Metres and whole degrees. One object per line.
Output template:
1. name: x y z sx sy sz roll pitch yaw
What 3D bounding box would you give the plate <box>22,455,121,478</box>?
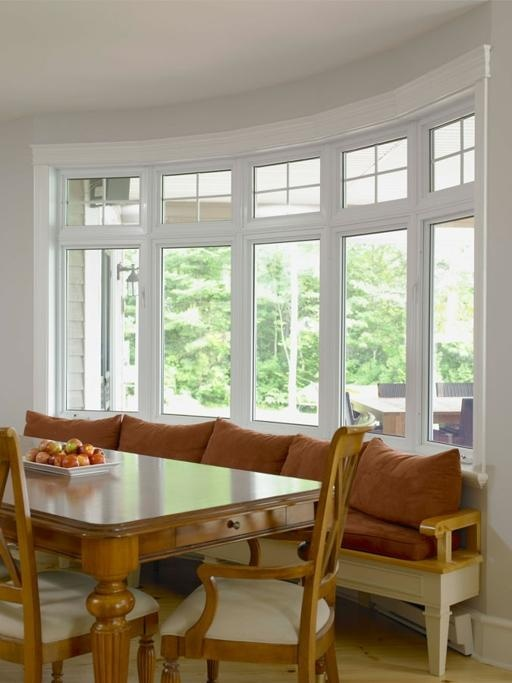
1. plate: -0.672 0.449 2.355 0.191 0.024 0.189 3 -5 -39
